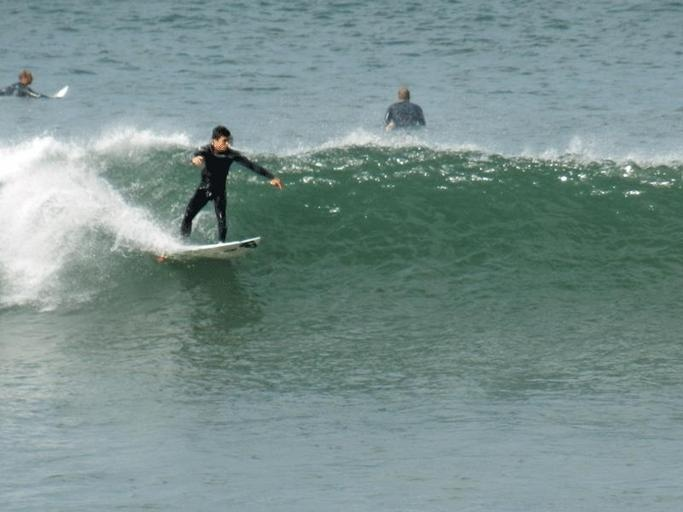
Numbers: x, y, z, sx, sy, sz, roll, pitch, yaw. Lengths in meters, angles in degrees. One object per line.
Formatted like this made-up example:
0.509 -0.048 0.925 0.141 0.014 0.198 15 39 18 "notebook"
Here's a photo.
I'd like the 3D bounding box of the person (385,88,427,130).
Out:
1.441 -3.482 29.964 0.929 0.844 0.734 -5 37 -8 "person"
